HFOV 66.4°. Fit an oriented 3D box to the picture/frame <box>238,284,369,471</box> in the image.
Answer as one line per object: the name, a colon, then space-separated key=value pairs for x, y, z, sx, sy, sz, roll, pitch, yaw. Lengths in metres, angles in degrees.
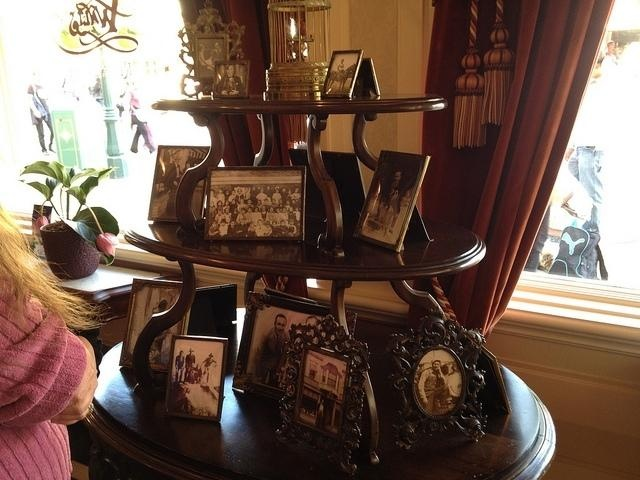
picture/frame: x=-0.054 y=0.379 z=1.293 sx=0.331 sy=0.351 sz=0.123 roll=14 pitch=8 yaw=31

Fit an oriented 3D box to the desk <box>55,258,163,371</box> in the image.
desk: x=-1.082 y=0.324 z=2.471 sx=0.427 sy=0.352 sz=0.668 roll=4 pitch=12 yaw=8

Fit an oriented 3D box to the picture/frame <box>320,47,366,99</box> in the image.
picture/frame: x=0.051 y=-0.403 z=1.185 sx=0.090 sy=0.113 sz=0.119 roll=5 pitch=20 yaw=6

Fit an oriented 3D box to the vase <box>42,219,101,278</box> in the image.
vase: x=-1.220 y=0.066 z=2.490 sx=0.259 sy=0.253 sz=0.311 roll=-4 pitch=15 yaw=-5

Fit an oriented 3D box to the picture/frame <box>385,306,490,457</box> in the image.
picture/frame: x=0.306 y=0.379 z=1.256 sx=0.293 sy=0.379 sz=0.024 roll=-5 pitch=5 yaw=-25

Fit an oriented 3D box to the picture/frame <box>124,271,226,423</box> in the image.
picture/frame: x=-0.443 y=0.336 z=1.479 sx=0.304 sy=0.329 sz=0.135 roll=8 pitch=9 yaw=14

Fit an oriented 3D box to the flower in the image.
flower: x=-1.276 y=-0.167 z=2.546 sx=0.429 sy=0.227 sz=0.443 roll=28 pitch=52 yaw=16
